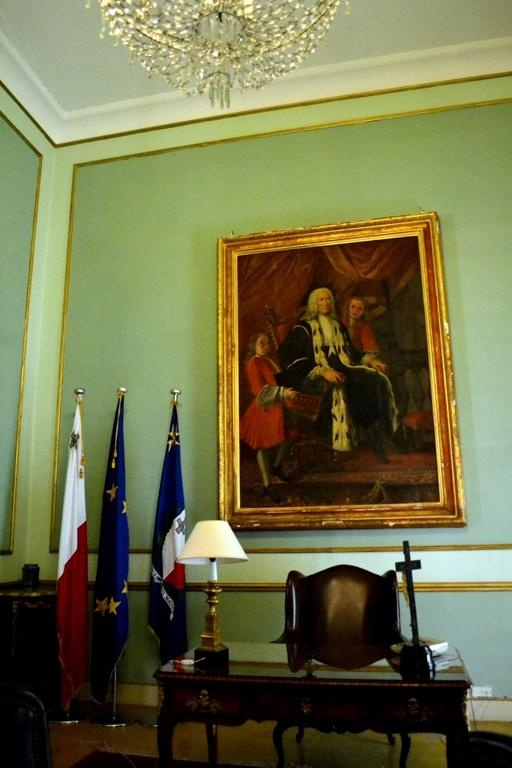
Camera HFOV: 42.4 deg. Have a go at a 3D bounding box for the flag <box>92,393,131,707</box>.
[{"bbox_3d":[-0.842,0.871,3.856,0.188,1.763,0.385,1,-10,-13],"label":"flag"}]

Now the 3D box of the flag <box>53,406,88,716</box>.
[{"bbox_3d":[-1.066,0.979,3.868,0.173,1.675,0.404,2,-10,-16],"label":"flag"}]
